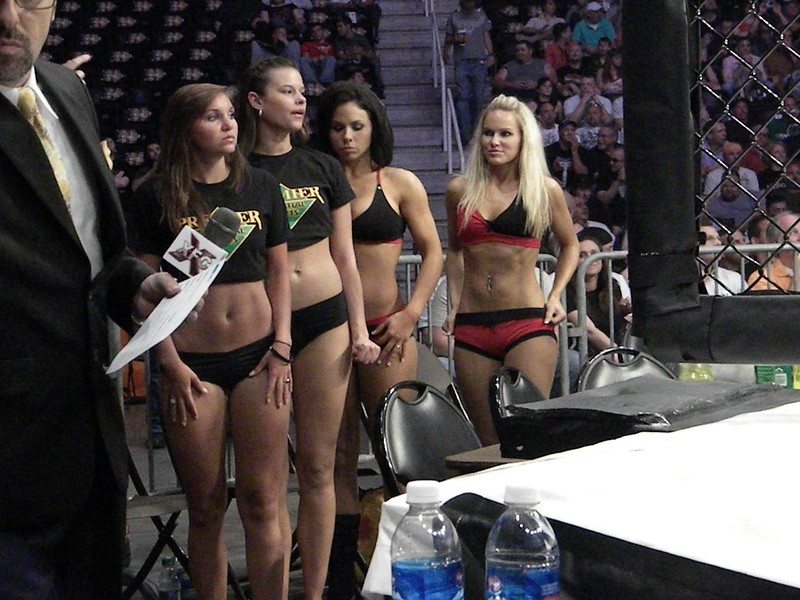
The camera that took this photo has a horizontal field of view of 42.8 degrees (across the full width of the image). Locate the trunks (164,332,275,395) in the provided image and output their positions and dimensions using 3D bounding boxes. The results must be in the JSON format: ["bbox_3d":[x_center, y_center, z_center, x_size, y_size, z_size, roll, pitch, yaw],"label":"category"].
[{"bbox_3d":[-0.553,0.222,3.519,0.256,0.178,0.318,-18,14,-40],"label":"trunks"}]

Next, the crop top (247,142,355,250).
[{"bbox_3d":[-0.385,-0.371,3.851,0.398,0.386,0.214,0,2,-6],"label":"crop top"}]

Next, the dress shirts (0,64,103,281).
[{"bbox_3d":[-0.808,-0.289,2.376,0.319,0.432,0.153,-4,-3,-13],"label":"dress shirts"}]

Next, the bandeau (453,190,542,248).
[{"bbox_3d":[0.411,-0.342,4.402,0.361,0.277,0.196,-2,-10,8],"label":"bandeau"}]

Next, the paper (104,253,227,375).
[{"bbox_3d":[-0.557,0.022,2.350,0.108,0.200,0.401,12,43,18],"label":"paper"}]

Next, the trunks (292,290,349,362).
[{"bbox_3d":[-0.304,0.063,3.806,0.279,0.204,0.195,-21,3,-9],"label":"trunks"}]

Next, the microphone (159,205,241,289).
[{"bbox_3d":[-0.575,-0.170,3.103,0.198,0.230,0.097,29,-4,30],"label":"microphone"}]

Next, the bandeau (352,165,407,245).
[{"bbox_3d":[-0.094,-0.380,4.119,0.275,0.389,0.238,2,1,-13],"label":"bandeau"}]

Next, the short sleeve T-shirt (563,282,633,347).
[{"bbox_3d":[1.235,0.096,6.204,0.387,0.475,0.327,-13,10,-2],"label":"short sleeve T-shirt"}]

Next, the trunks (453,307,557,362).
[{"bbox_3d":[0.437,0.140,4.309,0.419,0.218,0.189,-4,13,4],"label":"trunks"}]
